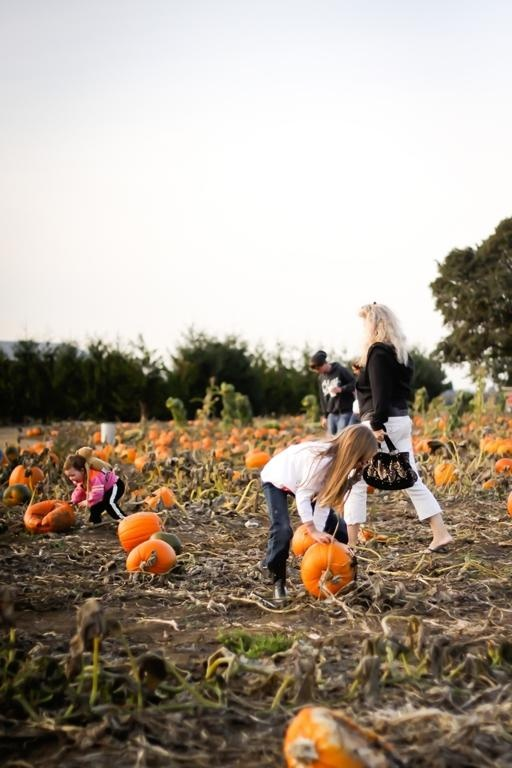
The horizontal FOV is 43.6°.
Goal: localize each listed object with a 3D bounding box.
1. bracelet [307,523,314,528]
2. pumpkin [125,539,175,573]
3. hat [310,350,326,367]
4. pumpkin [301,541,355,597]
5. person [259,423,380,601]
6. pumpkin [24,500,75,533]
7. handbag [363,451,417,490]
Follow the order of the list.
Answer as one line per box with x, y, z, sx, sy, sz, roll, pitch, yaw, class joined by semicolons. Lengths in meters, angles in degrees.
0.313;0.820;3.715;0.048;0.025;0.013;1;-7;-24;bracelet
-0.707;1.162;4.304;0.293;0.237;0.227;-7;10;-8;pumpkin
0.694;-0.276;7.164;0.154;0.186;0.141;0;-3;17;hat
0.410;1.085;3.742;0.245;0.326;0.241;4;-9;-42;pumpkin
0.356;0.773;3.926;0.541;0.999;0.730;0;-7;-19;person
-1.823;1.156;5.607;0.312;0.146;0.306;-2;20;1;pumpkin
0.933;0.606;4.485;0.379;0.368;0.116;1;-7;4;handbag
